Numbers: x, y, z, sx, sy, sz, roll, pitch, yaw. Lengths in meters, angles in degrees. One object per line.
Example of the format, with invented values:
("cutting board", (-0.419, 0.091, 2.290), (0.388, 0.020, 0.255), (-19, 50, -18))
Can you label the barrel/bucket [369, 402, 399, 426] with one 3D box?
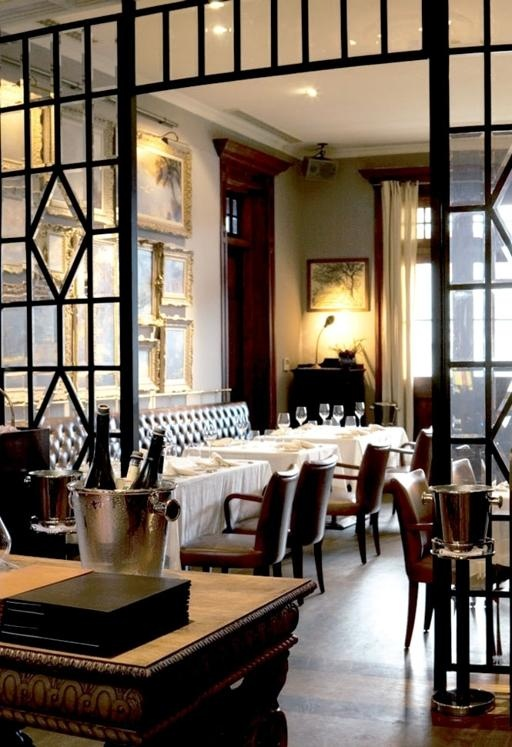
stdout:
("barrel/bucket", (1.842, 0.564, 10.203), (0.491, 0.527, 0.327), (0, -3, 7))

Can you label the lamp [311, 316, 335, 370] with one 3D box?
("lamp", (1.075, -0.558, 10.764), (0.239, 0.722, 0.451), (0, -2, -27))

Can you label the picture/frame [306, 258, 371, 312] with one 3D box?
("picture/frame", (1.293, -1.403, 10.715), (0.751, 0.692, 0.033), (4, 8, 29))

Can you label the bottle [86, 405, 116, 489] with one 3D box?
("bottle", (-0.315, 0.148, 1.402), (0.051, 0.169, 0.180), (-1, -2, -4))

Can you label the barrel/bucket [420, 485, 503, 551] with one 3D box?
("barrel/bucket", (0.726, 0.504, 2.580), (0.262, 0.192, 0.216), (0, -4, 7))

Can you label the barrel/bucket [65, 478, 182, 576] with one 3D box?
("barrel/bucket", (-0.225, 0.252, 1.222), (0.162, 0.130, 0.146), (-1, -2, 22))
